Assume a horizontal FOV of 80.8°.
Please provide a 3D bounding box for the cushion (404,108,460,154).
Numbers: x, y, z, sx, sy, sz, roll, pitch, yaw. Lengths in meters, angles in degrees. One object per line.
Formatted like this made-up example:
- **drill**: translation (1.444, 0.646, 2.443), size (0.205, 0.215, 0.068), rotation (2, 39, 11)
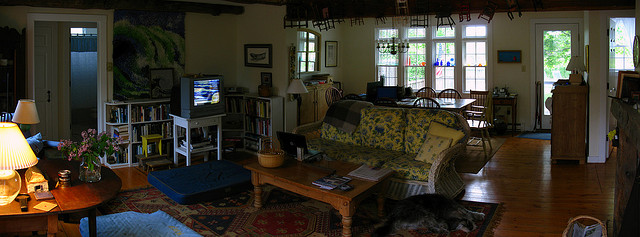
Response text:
- **cushion**: translation (3.416, 0.320, 11.220), size (1.399, 1.248, 1.324), rotation (1, 2, 25)

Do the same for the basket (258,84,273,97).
- **basket**: translation (-1.842, -0.935, 12.736), size (0.458, 0.403, 0.340), rotation (-1, 10, -3)

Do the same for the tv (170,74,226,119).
- **tv**: translation (-3.801, -0.674, 11.615), size (1.578, 1.303, 0.689), rotation (-3, 11, -17)

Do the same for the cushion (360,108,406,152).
- **cushion**: translation (1.926, 0.378, 11.101), size (1.912, 1.108, 0.571), rotation (1, 0, 21)

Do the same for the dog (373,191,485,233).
- **dog**: translation (2.882, 2.453, 9.726), size (2.976, 0.823, 1.124), rotation (-4, 1, -19)
